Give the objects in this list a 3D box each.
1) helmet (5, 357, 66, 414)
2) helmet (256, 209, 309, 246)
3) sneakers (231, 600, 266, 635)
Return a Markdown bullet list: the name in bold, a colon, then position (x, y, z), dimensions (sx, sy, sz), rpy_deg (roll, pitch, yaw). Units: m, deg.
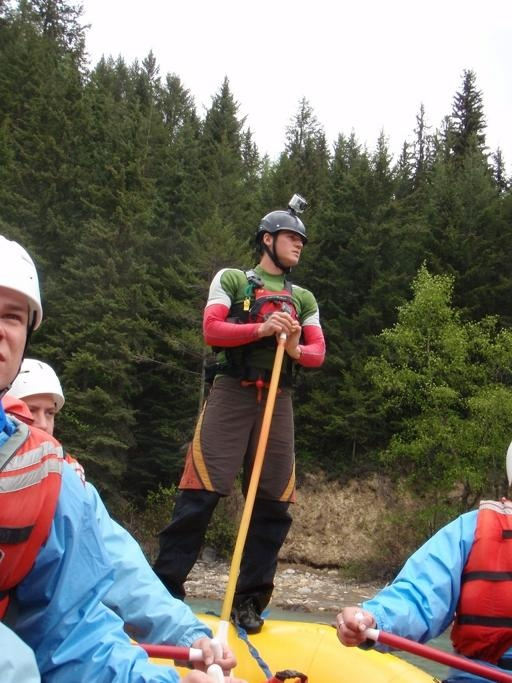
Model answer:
- **helmet**: position (-0.935, 0.168, 2.694), dimensions (0.231, 0.229, 0.307), rpy_deg (11, -28, -43)
- **helmet**: position (0.128, -0.721, 3.846), dimensions (0.269, 0.246, 0.213), rpy_deg (28, 16, 34)
- **sneakers**: position (-0.042, 1.346, 3.064), dimensions (0.100, 0.140, 0.135), rpy_deg (40, 25, -9)
